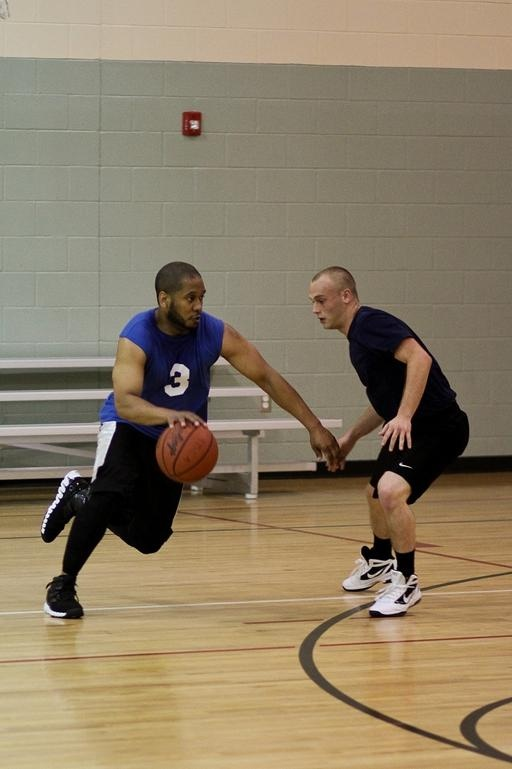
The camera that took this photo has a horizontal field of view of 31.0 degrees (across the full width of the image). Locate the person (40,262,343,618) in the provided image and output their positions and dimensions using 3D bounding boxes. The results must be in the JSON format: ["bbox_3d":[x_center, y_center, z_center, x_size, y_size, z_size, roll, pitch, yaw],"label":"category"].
[{"bbox_3d":[-0.232,0.163,2.785,0.845,1.037,0.579,0,0,-8],"label":"person"}]

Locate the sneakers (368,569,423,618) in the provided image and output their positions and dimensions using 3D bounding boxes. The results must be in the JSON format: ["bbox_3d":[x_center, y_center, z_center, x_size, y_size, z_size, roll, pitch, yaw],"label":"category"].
[{"bbox_3d":[0.421,0.628,2.832,0.079,0.087,0.216,-5,0,36],"label":"sneakers"}]

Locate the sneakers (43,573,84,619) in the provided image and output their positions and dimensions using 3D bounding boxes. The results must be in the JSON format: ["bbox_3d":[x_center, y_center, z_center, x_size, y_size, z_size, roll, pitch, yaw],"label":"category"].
[{"bbox_3d":[-0.568,0.621,2.733,0.109,0.122,0.096,0,0,-11],"label":"sneakers"}]

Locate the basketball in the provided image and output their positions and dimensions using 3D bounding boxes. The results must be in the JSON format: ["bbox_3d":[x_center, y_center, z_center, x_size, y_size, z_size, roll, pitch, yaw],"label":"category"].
[{"bbox_3d":[-0.195,0.193,2.583,0.166,0.172,0.158,0,0,-7],"label":"basketball"}]
